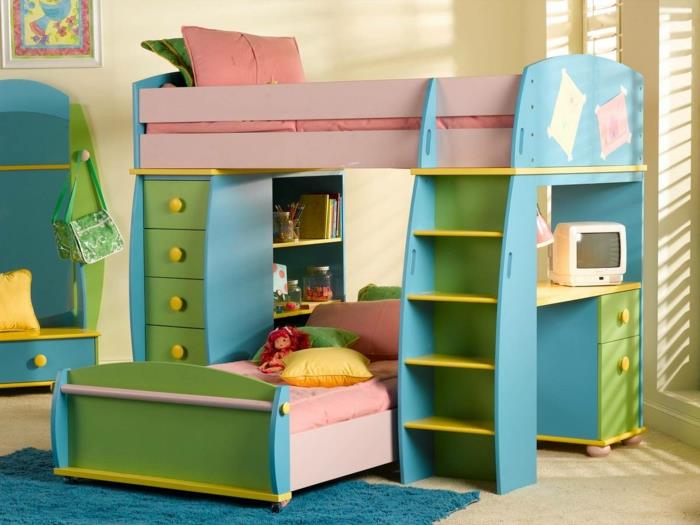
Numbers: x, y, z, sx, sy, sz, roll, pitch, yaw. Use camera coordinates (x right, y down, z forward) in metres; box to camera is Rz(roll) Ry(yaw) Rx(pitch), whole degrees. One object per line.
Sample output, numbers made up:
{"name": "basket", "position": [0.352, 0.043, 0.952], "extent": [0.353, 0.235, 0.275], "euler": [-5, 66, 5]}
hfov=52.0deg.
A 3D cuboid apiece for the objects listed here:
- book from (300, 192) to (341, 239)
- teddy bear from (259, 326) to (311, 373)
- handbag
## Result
{"name": "book", "position": [-0.190, -0.343, 5.736], "extent": [0.323, 0.422, 0.424], "euler": [1, 3, 18]}
{"name": "teddy bear", "position": [-0.399, 0.487, 4.121], "extent": [0.252, 0.276, 0.150], "euler": [-4, 21, -17]}
{"name": "handbag", "position": [-1.822, -0.161, 4.858], "extent": [0.364, 0.344, 0.501], "euler": [2, 9, 29]}
